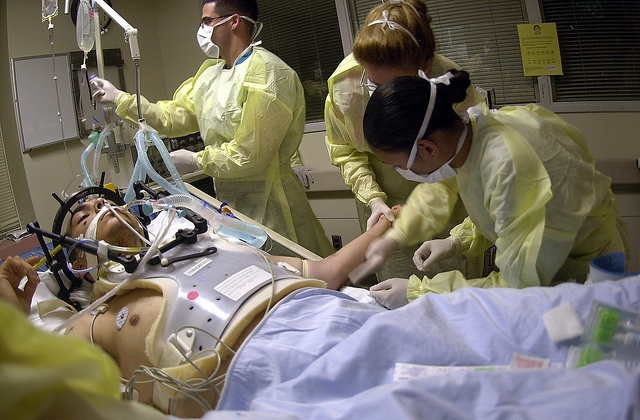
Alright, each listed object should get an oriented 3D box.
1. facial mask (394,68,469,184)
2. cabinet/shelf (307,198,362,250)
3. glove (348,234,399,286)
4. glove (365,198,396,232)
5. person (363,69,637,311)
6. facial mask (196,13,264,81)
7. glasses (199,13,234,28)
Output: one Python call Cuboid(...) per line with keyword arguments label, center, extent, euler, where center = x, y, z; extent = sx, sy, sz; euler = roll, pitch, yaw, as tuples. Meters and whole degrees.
Cuboid(label="facial mask", center=(0.450, -0.357, 2.095), extent=(0.235, 0.428, 0.411), euler=(9, 28, -11))
Cuboid(label="cabinet/shelf", center=(0.161, 0.109, 4.355), extent=(0.435, 0.446, 0.109), euler=(-4, 3, 24))
Cuboid(label="glove", center=(0.288, 0.261, 2.553), extent=(0.085, 0.320, 0.172), euler=(36, 4, -39))
Cuboid(label="glove", center=(0.348, 0.014, 2.719), extent=(0.165, 0.055, 0.180), euler=(-5, 54, 28))
Cuboid(label="person", center=(0.781, -0.093, 2.218), extent=(1.183, 1.100, 0.712), euler=(-1, 13, 4))
Cuboid(label="facial mask", center=(-0.659, -1.060, 3.107), extent=(0.351, 0.383, 0.176), euler=(-2, 13, -34))
Cuboid(label="glasses", center=(-0.676, -1.208, 3.006), extent=(0.267, 0.063, 0.070), euler=(4, 15, 24))
